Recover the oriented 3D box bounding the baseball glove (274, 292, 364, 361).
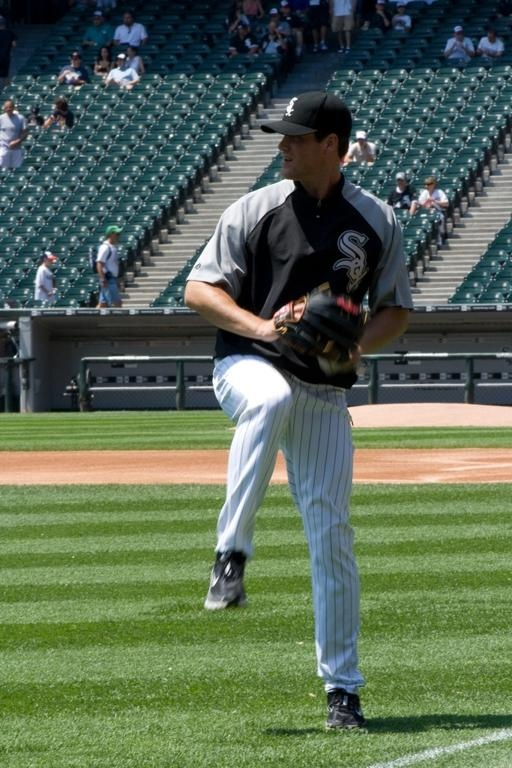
[{"bbox_3d":[0.180,-0.159,4.634,0.219,0.172,0.098,11,-10,-1],"label":"baseball glove"}]

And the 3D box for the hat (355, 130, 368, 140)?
[{"bbox_3d":[1.286,-3.120,20.255,0.159,0.140,0.279,-1,-3,11],"label":"hat"}]

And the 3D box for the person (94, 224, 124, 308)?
[{"bbox_3d":[-1.600,-1.259,17.742,0.291,0.828,0.831,3,0,-5],"label":"person"}]

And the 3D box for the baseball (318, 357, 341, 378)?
[{"bbox_3d":[0.203,-0.046,4.604,0.057,0.015,0.042,44,2,3],"label":"baseball"}]

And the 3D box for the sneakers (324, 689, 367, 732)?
[{"bbox_3d":[0.240,0.903,4.460,0.055,0.117,0.170,-1,-4,33],"label":"sneakers"}]

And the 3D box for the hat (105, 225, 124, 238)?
[{"bbox_3d":[-1.534,-1.648,17.581,0.135,0.134,0.504,3,-1,-9],"label":"hat"}]

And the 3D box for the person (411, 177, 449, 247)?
[{"bbox_3d":[1.999,-2.023,18.977,0.430,0.751,1.075,3,0,6],"label":"person"}]

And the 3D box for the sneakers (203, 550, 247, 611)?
[{"bbox_3d":[-0.087,0.572,4.691,0.109,0.162,0.177,3,0,-2],"label":"sneakers"}]

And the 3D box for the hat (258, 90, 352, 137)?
[{"bbox_3d":[0.150,-0.770,4.709,0.214,0.122,0.141,7,6,-10],"label":"hat"}]

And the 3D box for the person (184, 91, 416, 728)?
[{"bbox_3d":[0.101,0.047,4.703,0.647,1.756,0.509,3,0,5],"label":"person"}]
